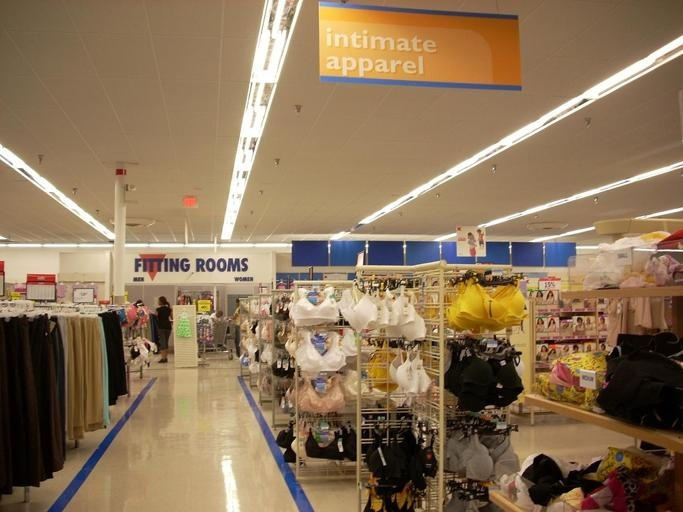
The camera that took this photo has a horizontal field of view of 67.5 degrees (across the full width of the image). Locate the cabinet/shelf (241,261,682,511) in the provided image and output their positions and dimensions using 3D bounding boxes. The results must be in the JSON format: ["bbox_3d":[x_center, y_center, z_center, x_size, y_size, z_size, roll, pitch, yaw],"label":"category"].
[{"bbox_3d":[0.951,1.218,4.584,1.357,1.651,2.455,1,-2,-34],"label":"cabinet/shelf"}]
